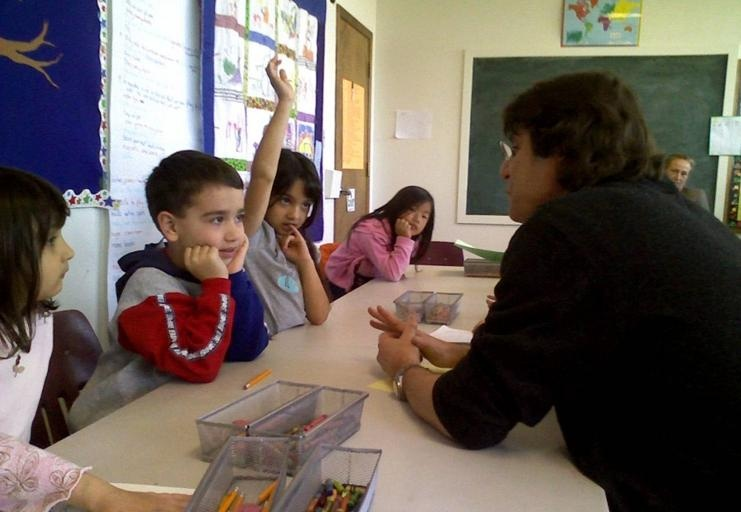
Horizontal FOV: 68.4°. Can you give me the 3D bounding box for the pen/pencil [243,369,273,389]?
[{"bbox_3d":[-0.290,0.314,1.390,0.021,0.015,0.103,5,15,18],"label":"pen/pencil"}]
